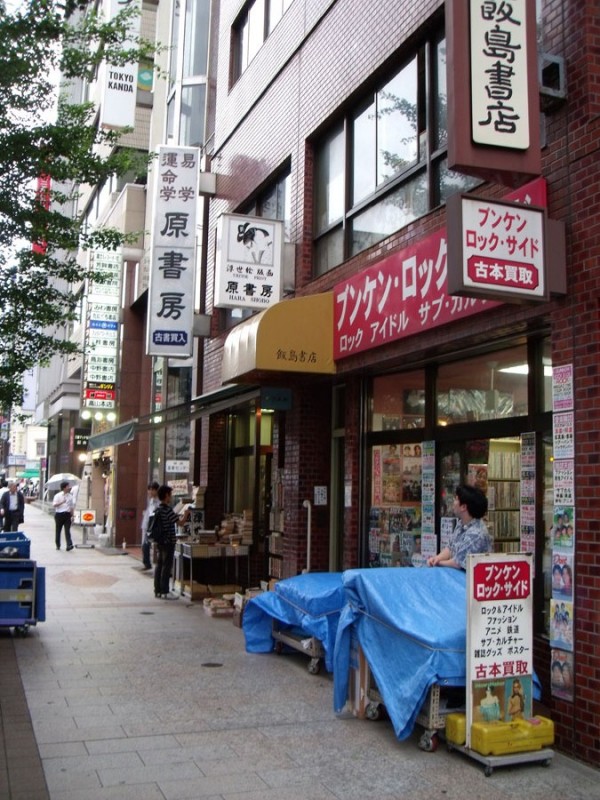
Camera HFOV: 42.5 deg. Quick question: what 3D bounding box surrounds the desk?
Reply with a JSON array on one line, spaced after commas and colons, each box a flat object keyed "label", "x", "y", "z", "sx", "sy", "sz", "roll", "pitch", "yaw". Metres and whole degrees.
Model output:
[{"label": "desk", "x": -1.358, "y": 2.636, "z": 12.040, "sx": 0.863, "sy": 1.184, "sz": 1.531, "roll": 2, "pitch": -3, "yaw": -24}]
